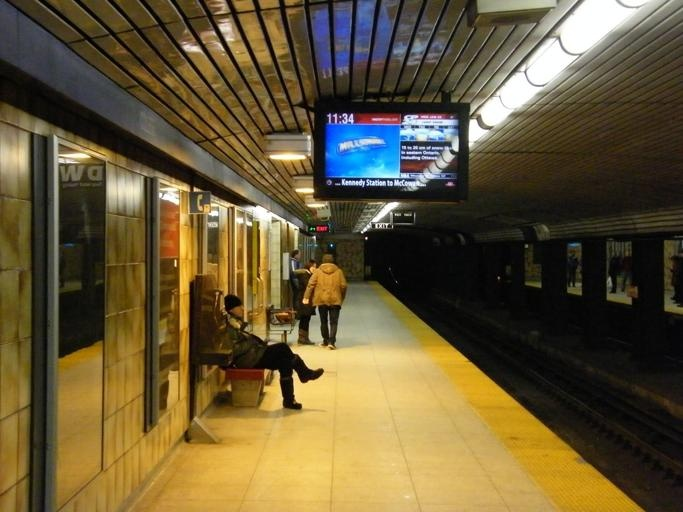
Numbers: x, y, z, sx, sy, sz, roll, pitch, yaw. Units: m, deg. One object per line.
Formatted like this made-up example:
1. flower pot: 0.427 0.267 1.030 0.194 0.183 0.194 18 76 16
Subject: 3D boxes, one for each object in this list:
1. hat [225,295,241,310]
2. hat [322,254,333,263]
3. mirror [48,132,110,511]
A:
1. hat: -1.262 0.538 5.885 0.168 0.130 0.160 -23 3 -4
2. hat: -0.262 0.061 9.449 0.133 0.160 0.178 1 4 5
3. mirror: -1.660 0.423 3.265 0.129 2.180 0.590 1 2 -8
